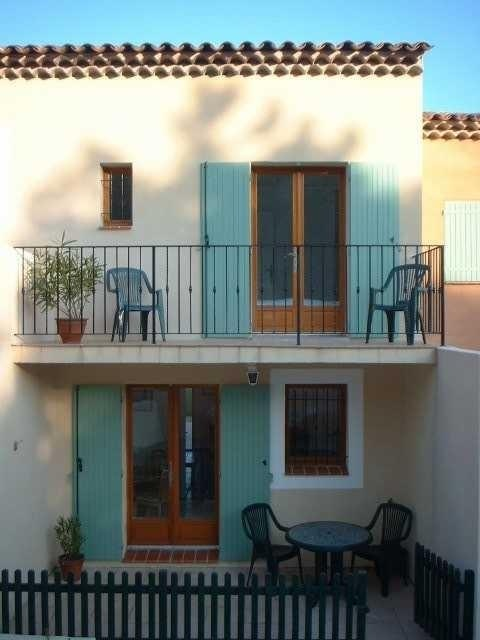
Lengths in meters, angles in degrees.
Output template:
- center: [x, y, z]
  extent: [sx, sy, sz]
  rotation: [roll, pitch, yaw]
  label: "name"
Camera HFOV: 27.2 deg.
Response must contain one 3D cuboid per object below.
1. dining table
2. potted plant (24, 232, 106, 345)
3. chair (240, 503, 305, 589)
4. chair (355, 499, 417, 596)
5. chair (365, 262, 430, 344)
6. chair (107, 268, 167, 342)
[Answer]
- center: [0.858, 2.411, 10.141]
  extent: [0.530, 0.687, 0.695]
  rotation: [0, -1, 0]
  label: "dining table"
- center: [-1.835, -0.531, 10.635]
  extent: [0.844, 1.743, 0.924]
  rotation: [0, 9, -21]
  label: "potted plant"
- center: [0.320, 2.442, 10.653]
  extent: [0.513, 0.998, 0.487]
  rotation: [-9, -2, 41]
  label: "chair"
- center: [1.551, 2.402, 10.546]
  extent: [0.578, 1.429, 0.624]
  rotation: [5, -7, -35]
  label: "chair"
- center: [1.611, -0.148, 10.596]
  extent: [0.402, 0.850, 0.355]
  rotation: [-3, 4, 40]
  label: "chair"
- center: [-1.078, -0.159, 10.824]
  extent: [0.353, 0.877, 0.464]
  rotation: [1, 8, 34]
  label: "chair"
